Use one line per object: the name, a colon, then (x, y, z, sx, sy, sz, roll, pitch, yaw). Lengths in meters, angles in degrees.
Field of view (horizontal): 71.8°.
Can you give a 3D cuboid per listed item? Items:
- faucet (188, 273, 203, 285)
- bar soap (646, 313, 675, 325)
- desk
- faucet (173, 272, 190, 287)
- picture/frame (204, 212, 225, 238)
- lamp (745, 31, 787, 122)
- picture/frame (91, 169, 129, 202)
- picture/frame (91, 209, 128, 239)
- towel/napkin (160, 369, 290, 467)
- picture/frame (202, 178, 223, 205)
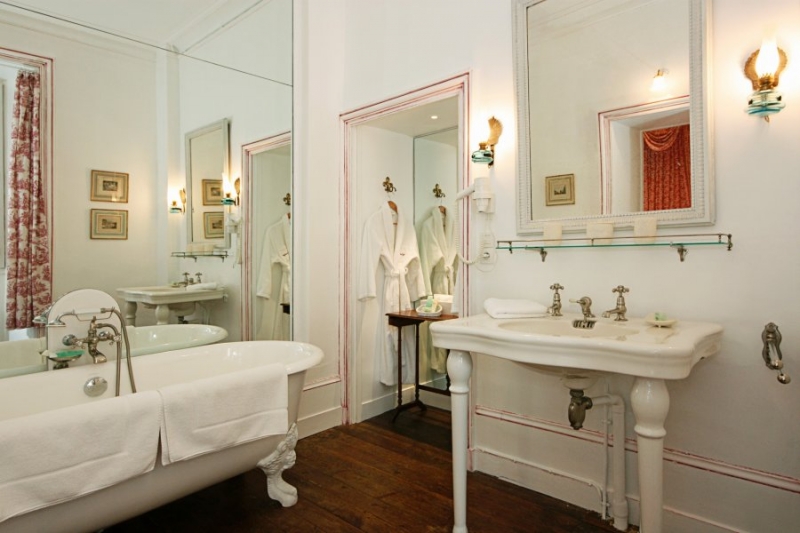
faucet: (-1.480, 0.081, 4.015, 0.061, 0.081, 0.082, -3, -10, 33)
bar soap: (1.475, 0.301, 3.123, 0.086, 0.038, 0.086, -1, -1, 1)
desk: (0.157, 0.756, 4.452, 0.456, 0.898, 0.865, -3, -3, 39)
faucet: (-1.541, 0.092, 3.918, 0.107, 0.074, 0.073, 4, -5, -43)
picture/frame: (-1.376, -0.314, 4.067, 0.023, 0.231, 0.190, 2, 1, 38)
lamp: (1.992, -1.017, 3.023, 0.210, 0.428, 0.123, 0, 4, 32)
picture/frame: (-1.956, -0.545, 3.707, 0.225, 0.230, 0.024, 1, -2, -43)
picture/frame: (-1.961, -0.291, 3.707, 0.197, 0.213, 0.015, -1, 2, -41)
towel/napkin: (-1.002, 0.883, 3.190, 0.573, 0.324, 0.136, -4, -2, -40)
picture/frame: (-1.390, -0.553, 4.070, 0.018, 0.238, 0.199, 0, -1, 41)
